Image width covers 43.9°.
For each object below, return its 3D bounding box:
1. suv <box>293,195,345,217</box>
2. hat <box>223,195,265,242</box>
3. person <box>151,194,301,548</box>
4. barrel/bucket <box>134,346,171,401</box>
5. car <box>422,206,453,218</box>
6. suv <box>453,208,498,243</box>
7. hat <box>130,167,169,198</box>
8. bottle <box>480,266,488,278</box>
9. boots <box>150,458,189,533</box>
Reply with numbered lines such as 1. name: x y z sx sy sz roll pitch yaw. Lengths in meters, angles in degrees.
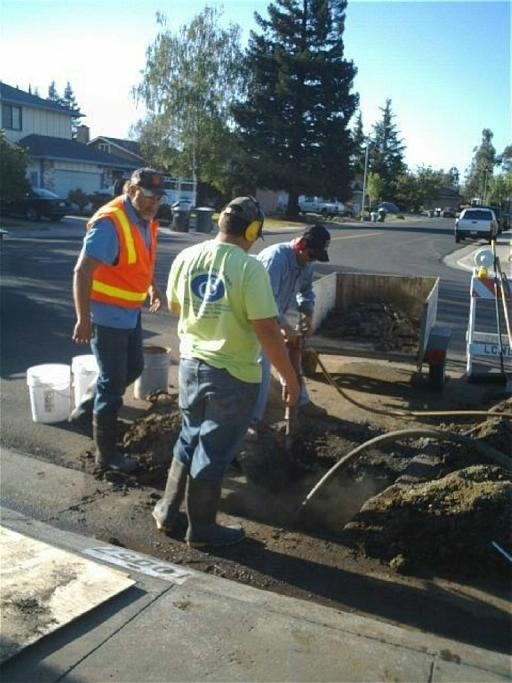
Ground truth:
1. suv: 4.491 -9.442 45.576 3.408 1.452 1.833 6 25 11
2. hat: -0.067 -0.625 3.236 0.197 0.231 0.263 2 12 -2
3. person: -0.194 0.282 3.274 0.757 1.574 0.470 14 17 42
4. barrel/bucket: -0.906 0.280 5.536 0.307 0.445 0.305 6 18 -2
5. car: 20.324 -14.214 70.279 2.982 0.994 9.345 6 12 16
6. suv: 9.148 -4.922 26.571 1.514 1.366 2.249 6 12 15
7. hat: -0.695 -1.028 4.038 0.186 0.126 0.246 2 17 -37
8. bottle: 2.306 -0.714 6.466 0.096 0.090 0.095 -1 1 -35
9. boots: -0.448 0.835 3.515 0.161 0.358 0.379 18 0 0
